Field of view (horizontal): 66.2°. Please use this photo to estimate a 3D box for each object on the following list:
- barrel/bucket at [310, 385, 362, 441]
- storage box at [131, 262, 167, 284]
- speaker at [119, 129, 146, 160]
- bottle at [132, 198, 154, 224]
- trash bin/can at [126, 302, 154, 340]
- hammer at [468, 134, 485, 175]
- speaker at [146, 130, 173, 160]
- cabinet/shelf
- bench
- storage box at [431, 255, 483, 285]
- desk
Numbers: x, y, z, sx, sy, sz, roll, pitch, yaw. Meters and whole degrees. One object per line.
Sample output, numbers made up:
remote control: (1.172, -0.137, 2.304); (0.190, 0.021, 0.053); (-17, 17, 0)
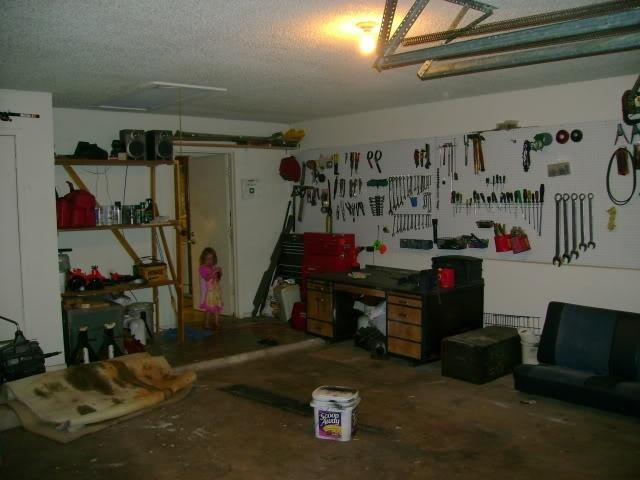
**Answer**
barrel/bucket: (0.146, 1.601, 4.601); (0.427, 0.437, 0.235); (-1, 5, 5)
storage box: (-2.436, 0.454, 7.137); (0.332, 0.207, 0.332); (-4, 6, -41)
speaker: (-2.585, -1.320, 6.816); (0.355, 0.398, 0.173); (-3, 5, -16)
bottle: (-2.540, -0.416, 7.073); (0.181, 0.335, 0.430); (-2, 5, -3)
trash bin/can: (-2.654, 1.191, 7.191); (0.340, 0.545, 0.550); (-2, 5, -2)
hammer: (2.169, -1.201, 6.803); (0.224, 0.553, 0.030); (3, 6, 41)
speaker: (-2.248, -1.326, 6.903); (0.343, 0.408, 0.144); (-4, 5, -25)
cabinet/shelf: (-2.877, 0.137, 7.342); (1.512, 2.633, 1.440); (-4, 5, -24)
bench: (1.971, 1.318, 5.808); (0.933, 0.604, 0.690); (-3, 3, -40)
storage box: (1.819, 0.344, 6.609); (0.427, 0.385, 0.614); (-1, 5, -37)
desk: (0.951, 0.977, 6.807); (2.093, 0.898, 0.997); (2, 6, 37)
